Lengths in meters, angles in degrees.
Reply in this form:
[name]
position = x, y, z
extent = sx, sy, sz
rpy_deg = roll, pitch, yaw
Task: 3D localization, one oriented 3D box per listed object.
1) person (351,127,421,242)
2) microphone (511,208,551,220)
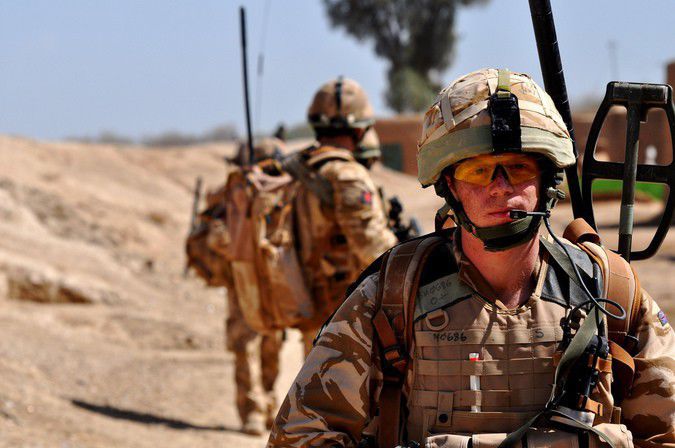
[person]
position = 0.387, -0.213, 12.356
extent = 0.327, 1.153, 0.497
rpy_deg = -11, 8, 3
[microphone]
position = 1.220, -0.045, 9.822
extent = 0.316, 0.066, 0.111
rpy_deg = 3, -8, -29
